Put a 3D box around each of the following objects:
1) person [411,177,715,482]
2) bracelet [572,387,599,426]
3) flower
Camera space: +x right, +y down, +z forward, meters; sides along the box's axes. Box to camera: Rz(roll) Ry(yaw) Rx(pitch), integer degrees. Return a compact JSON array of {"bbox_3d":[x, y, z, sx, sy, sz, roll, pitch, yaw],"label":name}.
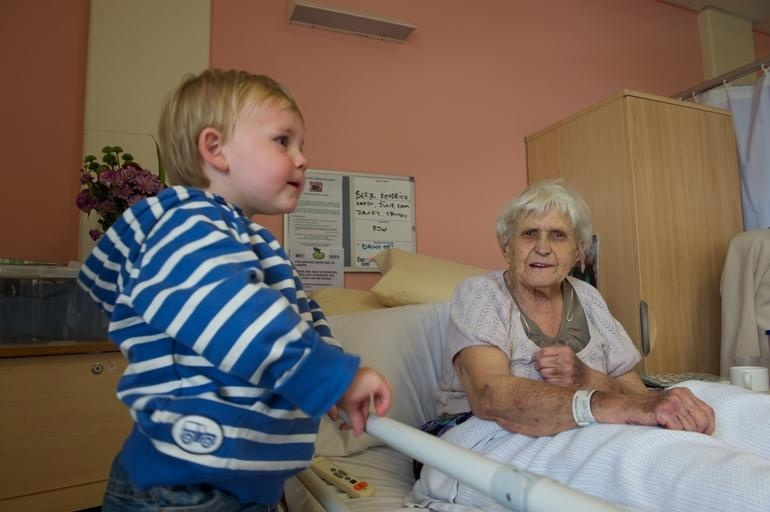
[{"bbox_3d":[0.413,0.320,2.224,0.658,1.218,1.205,4,-18,-16],"label":"person"},{"bbox_3d":[0.583,0.450,1.676,0.059,0.091,0.089,0,30,10],"label":"bracelet"},{"bbox_3d":[-1.167,-0.334,2.663,0.245,0.336,0.265,-28,35,-31],"label":"flower"}]
